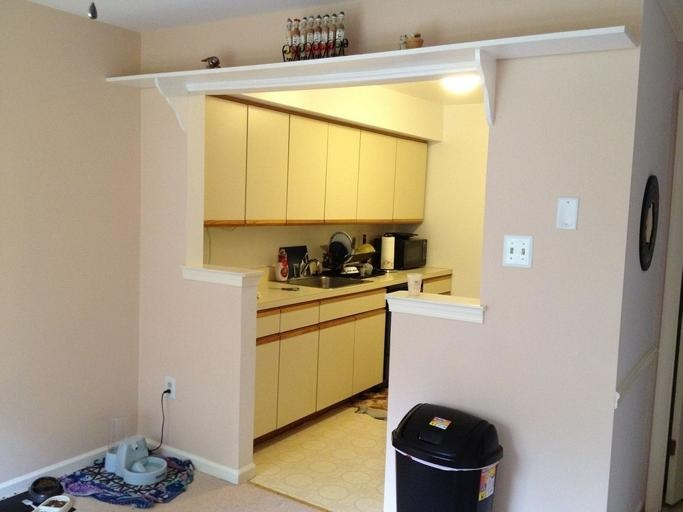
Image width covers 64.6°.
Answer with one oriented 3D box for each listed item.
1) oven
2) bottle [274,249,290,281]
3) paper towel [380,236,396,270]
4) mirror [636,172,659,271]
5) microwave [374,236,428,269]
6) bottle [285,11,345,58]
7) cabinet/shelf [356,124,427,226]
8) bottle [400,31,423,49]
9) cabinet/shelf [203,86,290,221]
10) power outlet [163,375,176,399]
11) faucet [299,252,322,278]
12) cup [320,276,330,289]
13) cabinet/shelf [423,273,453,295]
[{"bbox_3d":[0.578,0.757,4.854,0.345,0.639,0.330,-13,-3,-20],"label":"oven"},{"bbox_3d":[-0.492,0.074,4.528,0.120,0.259,0.120,8,9,-1],"label":"bottle"},{"bbox_3d":[0.455,-0.030,5.285,0.155,0.323,0.099,8,9,3],"label":"paper towel"},{"bbox_3d":[1.514,-0.182,2.675,0.035,0.486,0.449,4,10,36],"label":"mirror"},{"bbox_3d":[0.588,-0.057,5.541,0.341,0.328,0.500,5,8,36],"label":"microwave"},{"bbox_3d":[-0.130,-1.138,2.818,0.352,0.261,0.134,14,11,30],"label":"bottle"},{"bbox_3d":[0.455,-0.793,5.124,0.277,0.737,0.863,15,17,41],"label":"cabinet/shelf"},{"bbox_3d":[0.340,-1.026,2.607,0.110,0.080,0.110,-1,8,0],"label":"bottle"},{"bbox_3d":[-0.552,-0.633,3.689,0.868,0.824,0.292,15,20,32],"label":"cabinet/shelf"},{"bbox_3d":[-1.138,0.867,3.576,0.140,0.196,0.027,8,13,39],"label":"power outlet"},{"bbox_3d":[-0.282,0.094,4.822,0.173,0.250,0.250,-2,-2,25],"label":"faucet"},{"bbox_3d":[-0.142,0.234,4.757,0.082,0.089,0.083,0,7,0],"label":"cup"},{"bbox_3d":[0.957,0.291,5.367,0.199,0.233,0.353,10,13,43],"label":"cabinet/shelf"}]
